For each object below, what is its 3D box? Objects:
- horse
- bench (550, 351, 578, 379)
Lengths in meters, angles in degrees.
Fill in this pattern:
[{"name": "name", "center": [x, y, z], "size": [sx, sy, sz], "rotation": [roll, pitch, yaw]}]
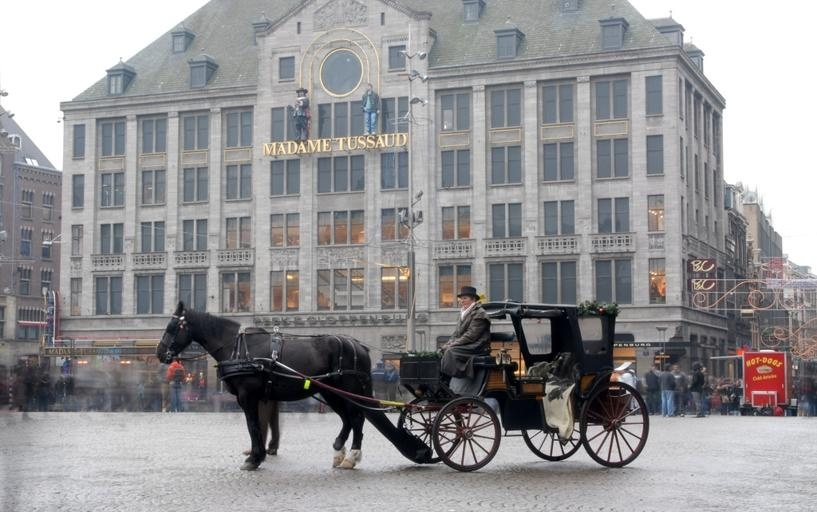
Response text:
[{"name": "horse", "center": [-6.270, 5.886, 69.767], "size": [10.172, 6.223, 3.189], "rotation": [4, -1, 1]}, {"name": "bench", "center": [6.819, 4.796, 68.910], "size": [1.155, 1.119, 1.228], "rotation": [7, -8, -34]}]
